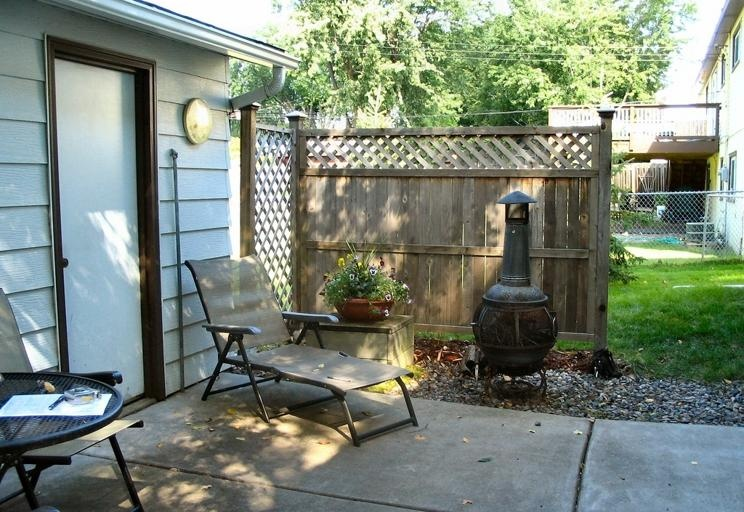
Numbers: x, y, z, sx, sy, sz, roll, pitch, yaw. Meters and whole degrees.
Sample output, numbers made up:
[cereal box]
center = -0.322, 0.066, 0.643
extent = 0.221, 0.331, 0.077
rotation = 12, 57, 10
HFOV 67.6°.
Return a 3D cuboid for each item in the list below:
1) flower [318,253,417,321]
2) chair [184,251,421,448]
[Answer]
[flower]
center = -0.052, 0.358, 5.918
extent = 0.886, 0.622, 0.833
rotation = -3, 7, -15
[chair]
center = -0.625, 0.700, 4.542
extent = 1.943, 1.163, 0.937
rotation = 4, 5, 38
